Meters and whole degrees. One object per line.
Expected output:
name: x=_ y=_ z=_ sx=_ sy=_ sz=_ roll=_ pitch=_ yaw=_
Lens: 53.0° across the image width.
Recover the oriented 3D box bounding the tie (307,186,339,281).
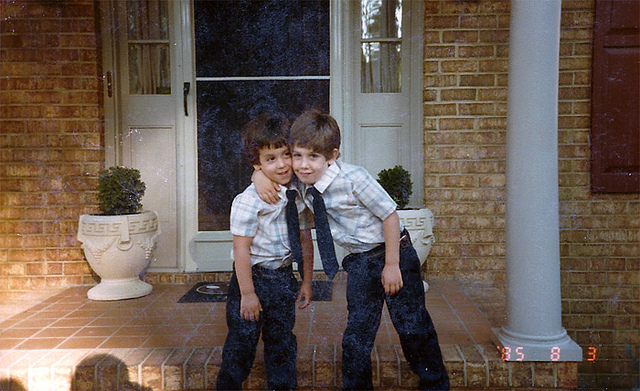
tie: x=0.035 y=0.323 z=5.337 sx=0.175 sy=0.938 sz=0.079 roll=-5 pitch=29 yaw=10

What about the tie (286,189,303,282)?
tie: x=-0.239 y=0.304 z=5.410 sx=0.137 sy=0.907 sz=0.097 roll=-5 pitch=-2 yaw=5

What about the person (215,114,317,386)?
person: x=-0.470 y=0.461 z=5.398 sx=0.821 sy=2.274 sz=0.294 roll=-2 pitch=8 yaw=-2

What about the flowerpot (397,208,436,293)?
flowerpot: x=1.048 y=0.602 z=7.031 sx=0.394 sy=0.936 sz=0.386 roll=0 pitch=-3 yaw=1

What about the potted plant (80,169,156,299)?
potted plant: x=-2.263 y=0.422 z=7.190 sx=1.020 sy=1.326 sz=0.852 roll=-2 pitch=0 yaw=-20

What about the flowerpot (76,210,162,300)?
flowerpot: x=-2.151 y=0.644 z=6.991 sx=0.817 sy=0.909 sz=0.328 roll=-4 pitch=8 yaw=-19

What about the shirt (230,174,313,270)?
shirt: x=-0.390 y=0.226 z=5.357 sx=0.868 sy=0.776 sz=0.471 roll=0 pitch=0 yaw=-28

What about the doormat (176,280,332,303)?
doormat: x=-0.705 y=1.041 z=7.031 sx=1.563 sy=0.092 sz=0.621 roll=-1 pitch=7 yaw=3

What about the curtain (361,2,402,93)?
curtain: x=0.710 y=-1.721 z=7.420 sx=0.458 sy=1.012 sz=0.080 roll=-1 pitch=8 yaw=2
